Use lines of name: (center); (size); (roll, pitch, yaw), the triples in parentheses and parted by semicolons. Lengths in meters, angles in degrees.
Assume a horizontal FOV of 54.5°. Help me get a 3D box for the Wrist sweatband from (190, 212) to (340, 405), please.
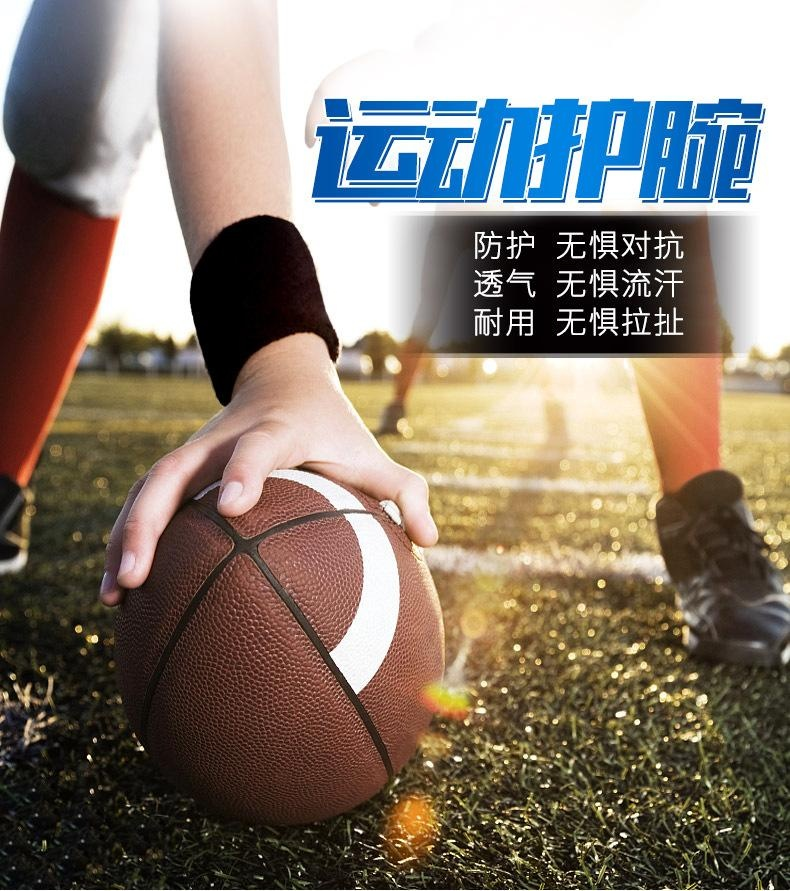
Wrist sweatband: (-0.213, -0.227, 1.246); (0.207, 0.260, 0.162); (7, 78, -32)

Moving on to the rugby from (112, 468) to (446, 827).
rugby: (-0.166, 0.288, 1.109); (0.444, 0.383, 0.361); (-6, 42, -2)
